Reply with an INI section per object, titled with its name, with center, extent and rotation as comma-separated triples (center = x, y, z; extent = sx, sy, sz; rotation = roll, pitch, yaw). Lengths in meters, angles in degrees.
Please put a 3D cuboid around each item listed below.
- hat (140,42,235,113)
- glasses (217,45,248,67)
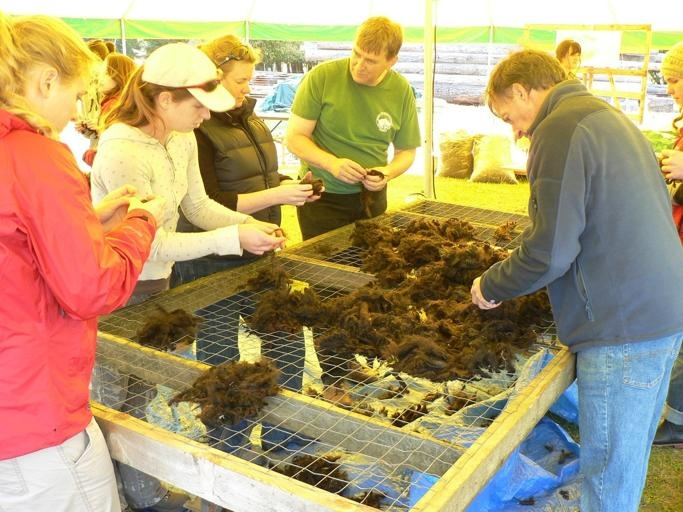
[hat]
center = -0.849, -0.846, 2.413
extent = 0.493, 0.203, 0.289
rotation = 4, -8, -20
[glasses]
center = -0.732, -1.309, 3.178
extent = 0.183, 0.046, 0.127
rotation = -24, 23, -22
